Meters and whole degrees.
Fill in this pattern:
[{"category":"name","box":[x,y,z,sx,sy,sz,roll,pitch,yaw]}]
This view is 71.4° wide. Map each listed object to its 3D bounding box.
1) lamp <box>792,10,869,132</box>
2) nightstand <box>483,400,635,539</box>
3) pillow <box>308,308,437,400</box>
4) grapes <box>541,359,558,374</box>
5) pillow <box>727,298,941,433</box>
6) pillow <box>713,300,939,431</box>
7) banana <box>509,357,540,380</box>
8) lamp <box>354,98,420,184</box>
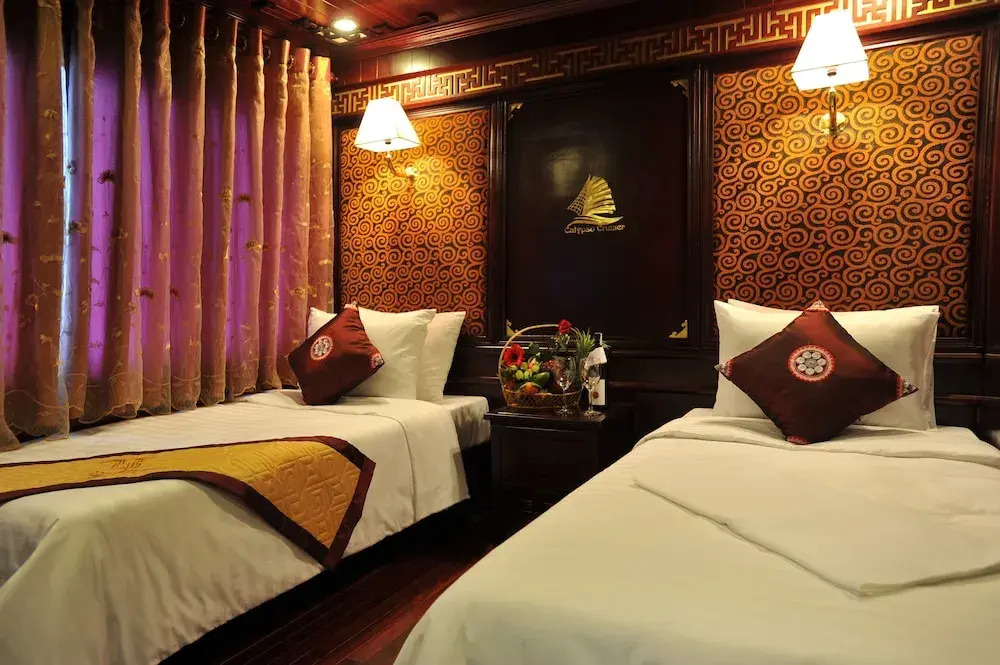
[{"category":"lamp","box":[1.667,-1.319,3.481,0.345,0.644,0.459,8,13,27]},{"category":"nightstand","box":[0.356,0.692,3.949,0.665,0.674,0.686,0,1,27]},{"category":"pillow","box":[-0.726,0.142,4.019,0.510,0.183,0.385,3,52,16]},{"category":"grapes","box":[0.277,0.185,3.787,0.074,0.075,0.073,-1,1,-28]},{"category":"pillow","box":[1.761,0.145,3.355,0.255,0.502,0.763,18,-14,-25]},{"category":"pillow","box":[1.408,0.204,3.114,0.775,0.185,0.813,2,47,24]},{"category":"banana","box":[0.147,0.203,3.839,0.157,0.115,0.080,2,12,1]},{"category":"lamp","box":[-0.706,-1.220,4.464,0.400,0.491,0.462,2,12,4]}]
